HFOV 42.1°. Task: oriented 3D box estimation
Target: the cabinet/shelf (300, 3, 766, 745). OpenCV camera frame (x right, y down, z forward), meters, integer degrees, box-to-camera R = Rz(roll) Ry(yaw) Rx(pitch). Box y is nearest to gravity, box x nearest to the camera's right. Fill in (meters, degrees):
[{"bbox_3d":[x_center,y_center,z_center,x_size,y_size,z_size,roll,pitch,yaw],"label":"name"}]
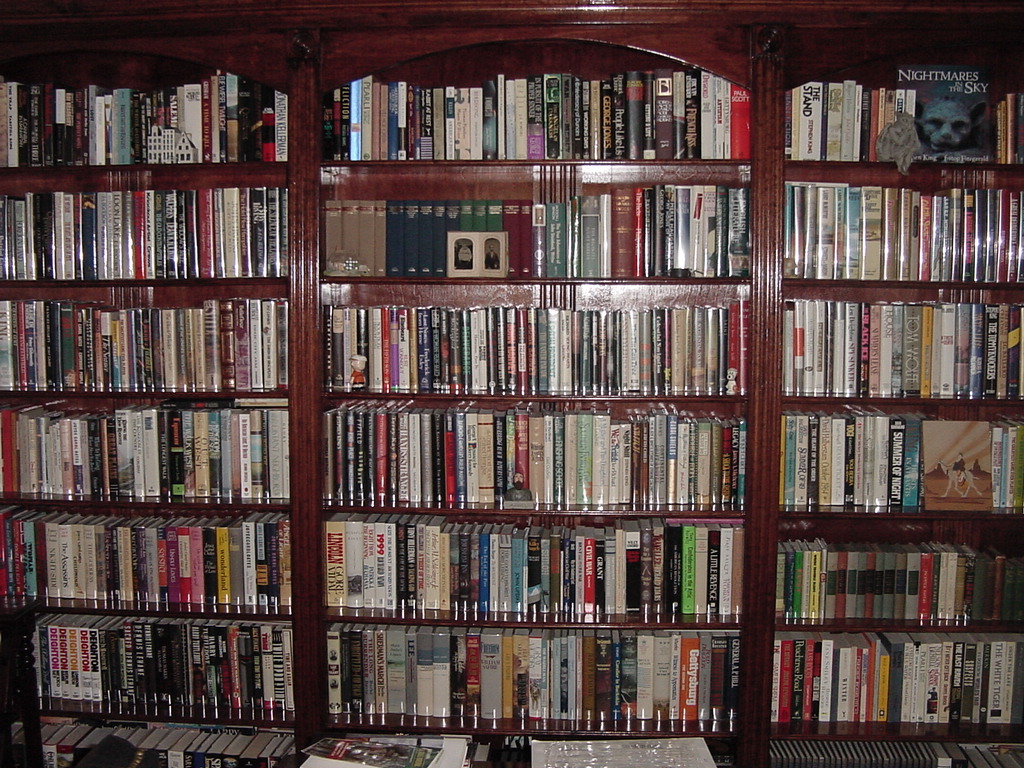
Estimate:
[{"bbox_3d":[0.081,0.027,5.113,1.825,0.814,2.510,0,-77,0],"label":"cabinet/shelf"}]
